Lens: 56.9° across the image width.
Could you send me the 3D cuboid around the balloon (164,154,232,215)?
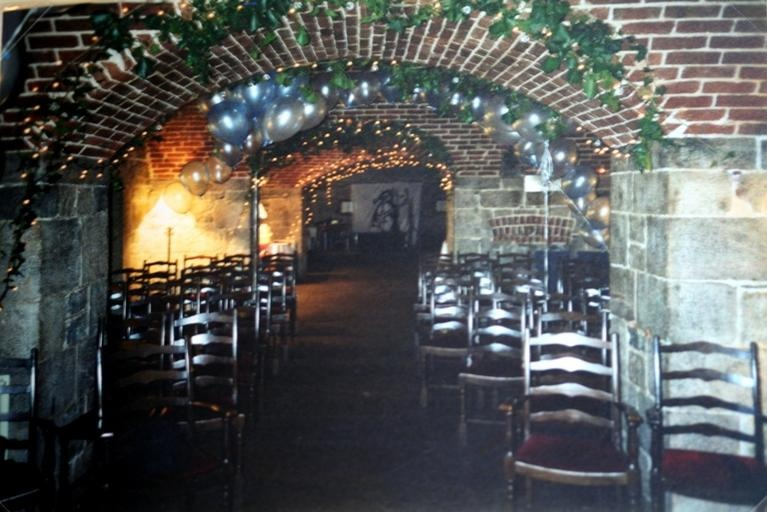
[{"bbox_3d":[-2.712,-1.033,10.164,1.354,0.530,0.557,-18,-11,26],"label":"balloon"}]
